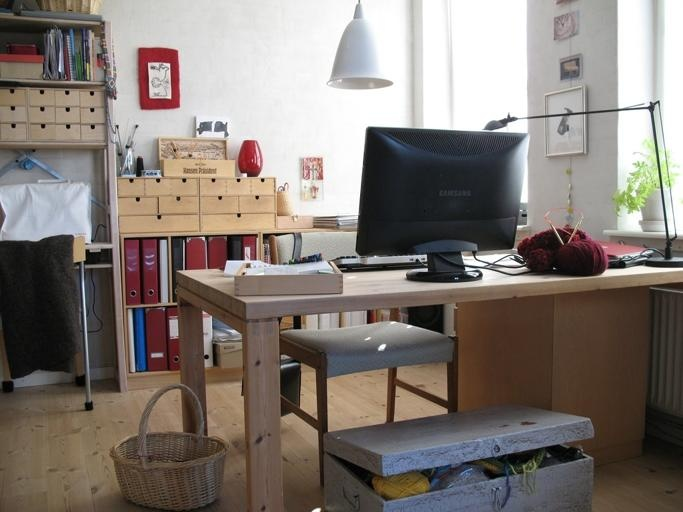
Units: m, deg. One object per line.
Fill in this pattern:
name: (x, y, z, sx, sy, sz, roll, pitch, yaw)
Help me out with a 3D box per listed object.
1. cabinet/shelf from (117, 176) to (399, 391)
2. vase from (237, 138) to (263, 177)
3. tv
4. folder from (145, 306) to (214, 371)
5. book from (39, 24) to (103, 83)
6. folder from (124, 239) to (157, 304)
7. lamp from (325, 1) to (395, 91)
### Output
cabinet/shelf: (-0.555, 0.155, 2.957, 1.286, 1.291, 0.433, -2, 5, -26)
vase: (-0.667, -0.699, 4.012, 0.228, 0.308, 0.237, -4, 9, -17)
tv: (0.379, -0.193, 2.140, 0.588, 0.528, 0.231, 0, 6, -16)
folder: (-1.193, 0.575, 4.110, 0.434, 0.636, 0.609, -1, 3, -16)
book: (-1.697, -1.225, 3.568, 0.373, 0.386, 0.313, -5, 10, -41)
folder: (-1.344, 0.104, 3.746, 0.228, 0.438, 0.070, -3, 8, -12)
lamp: (0.095, -1.205, 3.361, 0.421, 0.736, 0.474, -1, 3, -3)
